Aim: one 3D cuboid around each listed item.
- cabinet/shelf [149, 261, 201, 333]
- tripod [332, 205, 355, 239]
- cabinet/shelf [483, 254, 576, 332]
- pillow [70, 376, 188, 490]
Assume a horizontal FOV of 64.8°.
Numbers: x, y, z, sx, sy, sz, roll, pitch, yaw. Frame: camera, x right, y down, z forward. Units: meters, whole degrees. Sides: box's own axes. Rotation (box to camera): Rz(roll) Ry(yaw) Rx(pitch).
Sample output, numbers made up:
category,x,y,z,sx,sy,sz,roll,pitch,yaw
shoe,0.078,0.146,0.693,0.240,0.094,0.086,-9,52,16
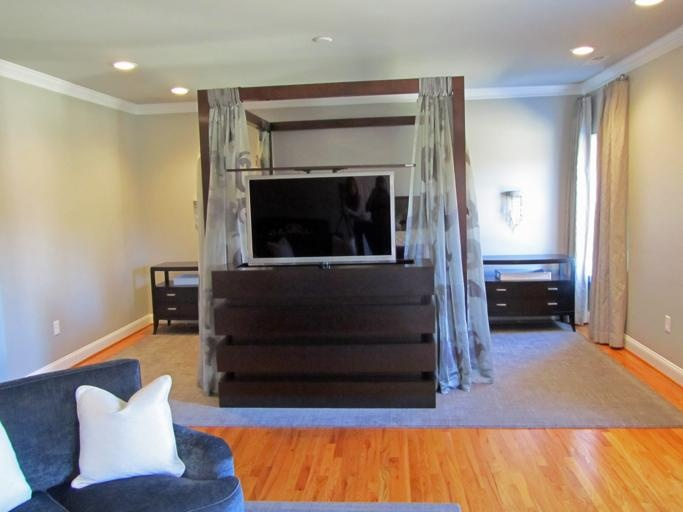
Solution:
category,x,y,z,sx,sy,sz,roll,pitch,yaw
cabinet/shelf,-1.704,0.479,6.124,0.772,0.760,0.417,0,6,-1
tripod,0.018,-0.277,4.182,0.167,0.228,0.068,2,6,1
cabinet/shelf,1.992,0.368,5.814,0.966,0.715,0.390,-3,9,3
pillow,-1.151,0.954,2.846,0.459,0.469,0.183,-7,-14,-15
